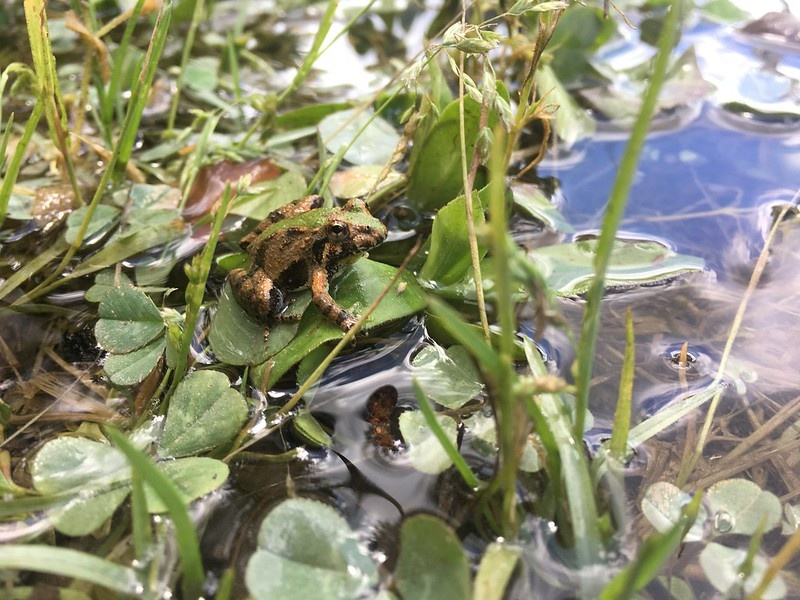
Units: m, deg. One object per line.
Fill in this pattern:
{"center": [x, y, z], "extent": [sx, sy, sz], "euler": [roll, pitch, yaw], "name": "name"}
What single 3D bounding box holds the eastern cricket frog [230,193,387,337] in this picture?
{"center": [-0.331, -0.185, 2.548], "extent": [0.640, 0.275, 0.676], "euler": [-13, 39, -4], "name": "eastern cricket frog"}
